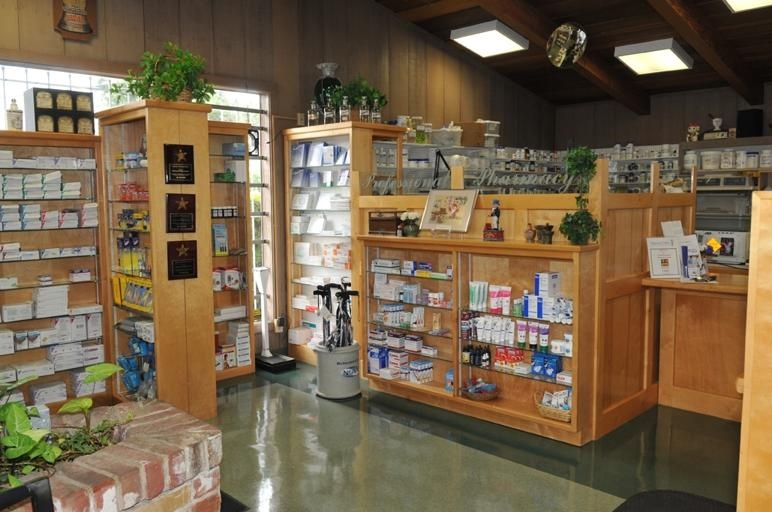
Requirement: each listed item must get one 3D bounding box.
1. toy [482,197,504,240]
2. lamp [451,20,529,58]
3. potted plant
[{"bbox_3d":[1.199,-0.396,6.303,0.235,0.432,0.230,0,8,32],"label":"toy"},{"bbox_3d":[1.796,-3.735,9.752,1.066,0.449,0.844,-13,19,-41],"label":"lamp"},{"bbox_3d":[-2.388,-1.972,6.258,0.886,0.562,0.407,-4,15,-13],"label":"potted plant"}]
